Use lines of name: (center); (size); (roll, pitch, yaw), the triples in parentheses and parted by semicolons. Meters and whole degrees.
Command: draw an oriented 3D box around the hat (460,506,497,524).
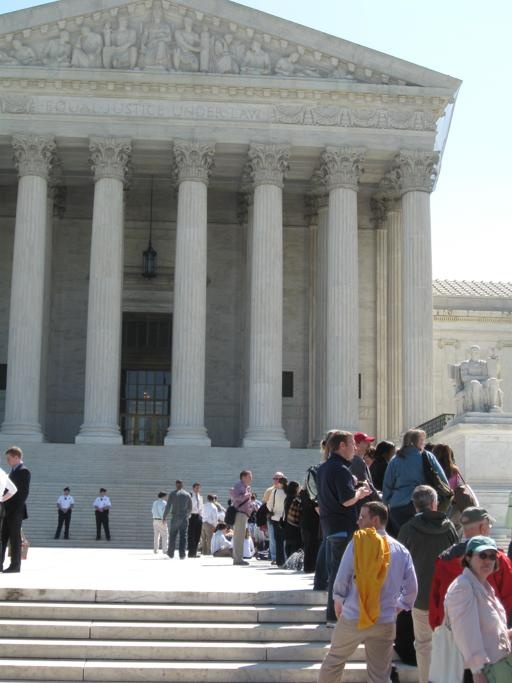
hat: (1.604, 1.250, 7.352); (0.246, 0.092, 0.152); (6, -7, -27)

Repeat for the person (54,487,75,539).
person: (-4.369, 3.904, 23.163); (0.420, 1.158, 1.544); (0, -10, -11)
